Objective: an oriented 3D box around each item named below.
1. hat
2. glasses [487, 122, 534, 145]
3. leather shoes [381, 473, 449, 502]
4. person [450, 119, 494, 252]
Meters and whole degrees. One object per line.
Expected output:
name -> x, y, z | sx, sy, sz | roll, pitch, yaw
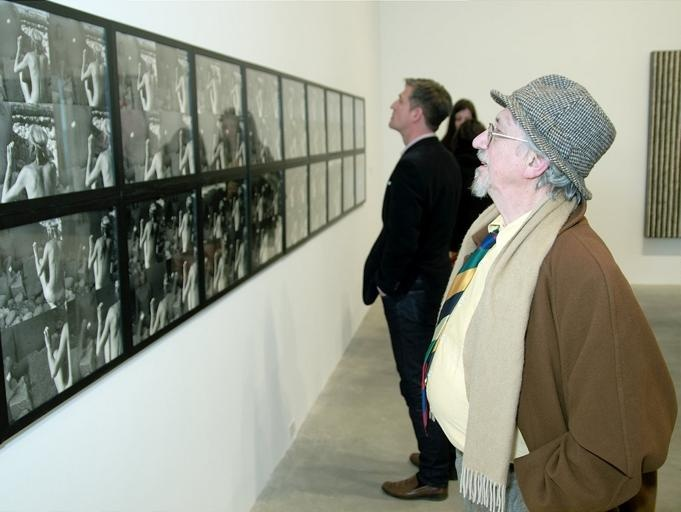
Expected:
hat -> 0.629, -0.389, 1.764 | 0.382, 0.205, 0.294 | 45, 36, 6
glasses -> 0.518, -0.375, 1.760 | 0.086, 0.031, 0.091 | 11, 18, -3
leather shoes -> 0.426, 1.258, 3.229 | 0.351, 0.167, 0.144 | 9, -4, 3
person -> 1.007, -0.698, 4.517 | 0.322, 1.420, 0.328 | 5, -27, 17
